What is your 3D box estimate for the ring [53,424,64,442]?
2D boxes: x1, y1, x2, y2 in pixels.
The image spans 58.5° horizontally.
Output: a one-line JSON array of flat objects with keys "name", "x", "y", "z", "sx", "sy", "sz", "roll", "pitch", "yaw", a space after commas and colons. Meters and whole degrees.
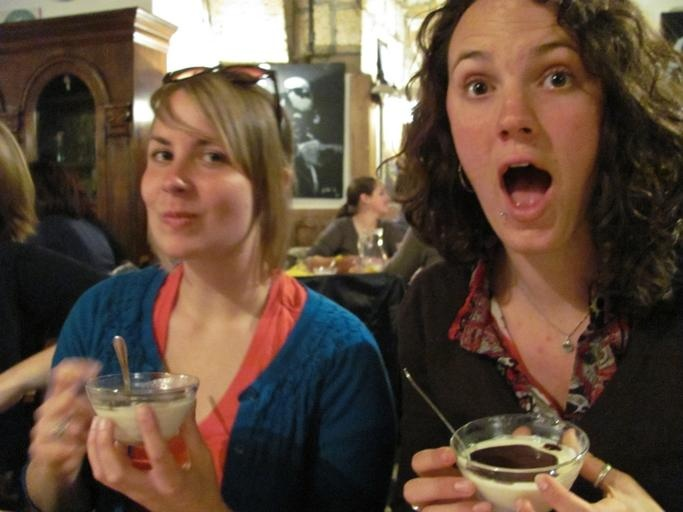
[{"name": "ring", "x": -0.700, "y": 0.437, "z": 1.505, "sx": 0.022, "sy": 0.035, "sz": 0.008, "roll": 29, "pitch": 10, "yaw": -18}]

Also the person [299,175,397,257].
[{"name": "person", "x": 0.167, "y": -0.384, "z": 5.270, "sx": 0.702, "sy": 0.987, "sz": 0.643, "roll": 7, "pitch": 10, "yaw": 21}]

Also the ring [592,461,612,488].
[{"name": "ring", "x": 0.554, "y": 0.460, "z": 1.283, "sx": 0.054, "sy": 0.045, "sz": 0.027, "roll": -8, "pitch": 6, "yaw": -39}]

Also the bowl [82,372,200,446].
[{"name": "bowl", "x": -0.448, "y": 0.303, "z": 1.368, "sx": 0.202, "sy": 0.112, "sz": 0.207, "roll": 1, "pitch": -8, "yaw": 0}]
